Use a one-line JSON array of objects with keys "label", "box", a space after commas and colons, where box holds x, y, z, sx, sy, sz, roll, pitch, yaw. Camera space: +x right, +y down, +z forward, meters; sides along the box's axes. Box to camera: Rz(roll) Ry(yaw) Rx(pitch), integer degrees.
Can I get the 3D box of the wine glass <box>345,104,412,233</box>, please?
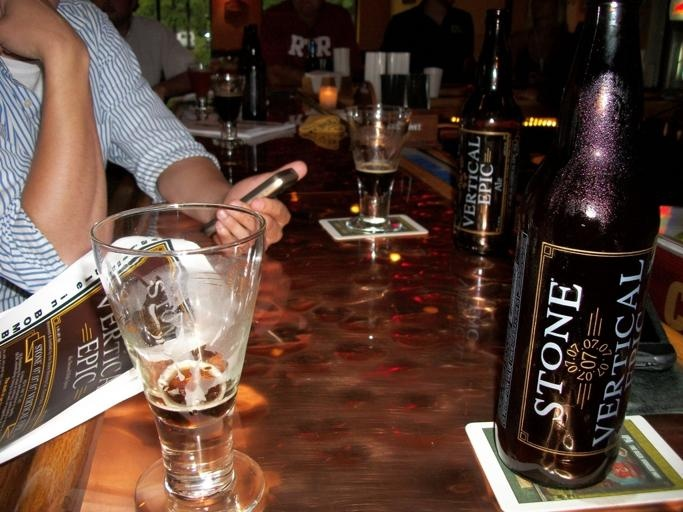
[{"label": "wine glass", "box": [0.070, -0.186, 1.115, 0.123, 0.222, 0.250, 2, 20, 0]}]
